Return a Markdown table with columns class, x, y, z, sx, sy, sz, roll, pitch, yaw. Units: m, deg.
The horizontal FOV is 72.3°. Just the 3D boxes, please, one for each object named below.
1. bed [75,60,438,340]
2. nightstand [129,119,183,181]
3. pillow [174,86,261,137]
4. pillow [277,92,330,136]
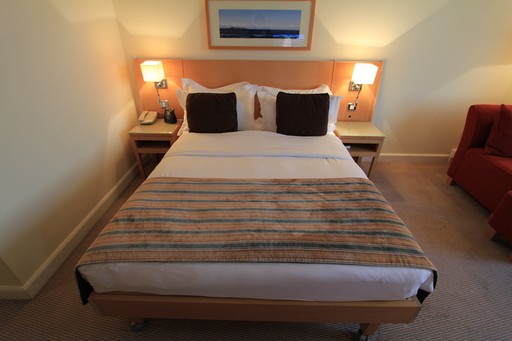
| class | x | y | z | sx | sy | sz | roll | pitch | yaw |
| --- | --- | --- | --- | --- | --- | --- | --- | --- | --- |
| bed | 0.036 | 0.699 | 3.535 | 2.890 | 1.259 | 1.399 | 0 | 26 | 2 |
| nightstand | -1.270 | -0.342 | 4.870 | 0.851 | 0.936 | 0.650 | -2 | 46 | -5 |
| pillow | -0.457 | -0.728 | 4.338 | 0.755 | 0.440 | 0.187 | -4 | 4 | -2 |
| pillow | 0.560 | -0.667 | 4.212 | 0.583 | 0.443 | 0.185 | 0 | 4 | 1 |
